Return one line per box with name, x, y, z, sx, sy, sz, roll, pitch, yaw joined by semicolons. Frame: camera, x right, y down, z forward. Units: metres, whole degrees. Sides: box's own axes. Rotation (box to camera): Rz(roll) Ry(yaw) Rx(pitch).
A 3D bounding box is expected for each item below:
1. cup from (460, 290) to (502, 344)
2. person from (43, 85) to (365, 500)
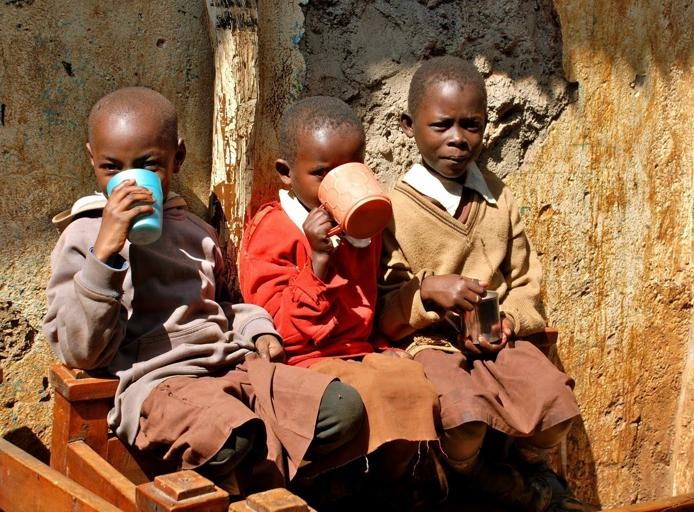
cup;0.648;0.267;4.512;0.202;0.237;0.210;-7;27;3
person;-0.635;0.368;4.125;1.291;1.365;0.586;0;0;8
